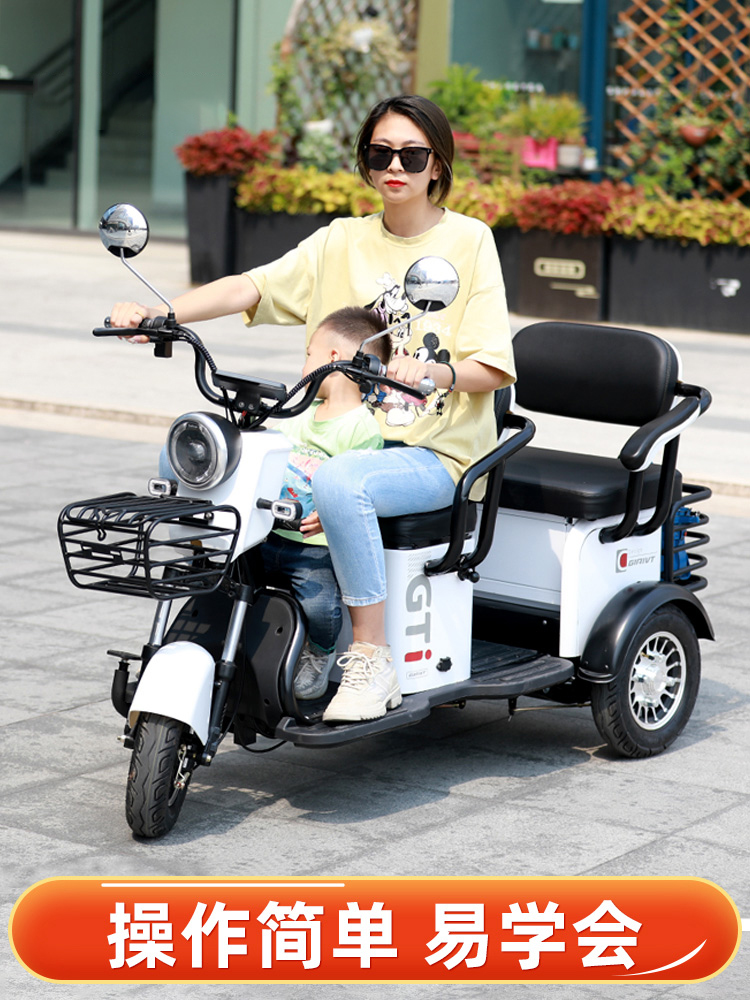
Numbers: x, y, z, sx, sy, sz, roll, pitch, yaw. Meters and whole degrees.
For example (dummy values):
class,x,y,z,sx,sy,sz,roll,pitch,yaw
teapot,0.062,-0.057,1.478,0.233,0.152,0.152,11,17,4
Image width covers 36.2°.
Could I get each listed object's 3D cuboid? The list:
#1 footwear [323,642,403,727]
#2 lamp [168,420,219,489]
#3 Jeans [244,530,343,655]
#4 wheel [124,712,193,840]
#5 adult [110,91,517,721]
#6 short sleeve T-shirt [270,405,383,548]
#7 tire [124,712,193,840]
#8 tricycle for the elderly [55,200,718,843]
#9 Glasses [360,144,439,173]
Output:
class,x,y,z,sx,sy,sz,roll,pitch,yaw
footwear,-0.020,0.418,2.571,0.102,0.121,0.237,1,5,25
lamp,-0.373,-0.098,2.387,0.050,0.154,0.137,-2,6,-40
Jeans,-0.153,0.215,2.692,0.216,0.265,0.086,-15,1,41
wheel,-0.452,0.585,2.399,0.127,0.302,0.191,2,5,-9
adult,-0.206,-0.271,2.854,1.165,1.407,0.795,0,11,0
short sleeve T-shirt,-0.109,-0.041,2.592,0.274,0.288,0.172,23,-2,33
tire,-0.452,0.585,2.399,0.127,0.302,0.191,2,5,-9
tricycle for the elderly,-0.053,0.072,3.311,1.182,1.279,2.261,6,8,43
Glasses,0.043,-0.830,2.799,0.191,0.074,0.069,5,5,33
